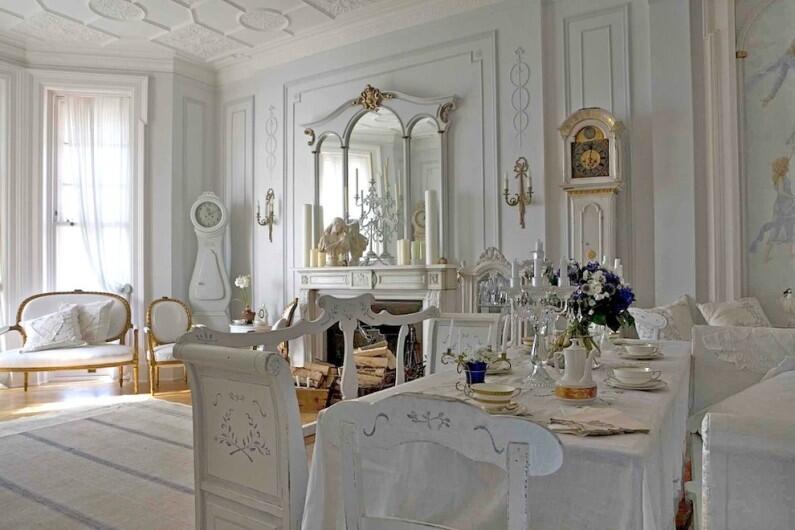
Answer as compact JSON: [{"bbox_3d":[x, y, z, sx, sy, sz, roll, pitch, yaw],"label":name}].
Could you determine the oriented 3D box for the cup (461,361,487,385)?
[{"bbox_3d":[0.431,0.580,3.254,0.130,0.101,0.118,-1,-5,0],"label":"cup"}]

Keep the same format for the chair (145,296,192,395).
[{"bbox_3d":[-2.755,0.936,7.190,0.659,1.112,0.658,-2,0,-21],"label":"chair"}]

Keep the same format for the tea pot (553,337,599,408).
[{"bbox_3d":[0.948,0.551,3.066,0.222,0.323,0.308,-1,-4,-16],"label":"tea pot"}]

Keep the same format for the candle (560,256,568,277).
[{"bbox_3d":[0.904,0.006,3.179,0.033,0.100,0.105,1,6,15],"label":"candle"}]

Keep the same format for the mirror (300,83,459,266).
[{"bbox_3d":[-0.248,-1.066,7.120,2.177,2.265,0.101,-2,3,28],"label":"mirror"}]

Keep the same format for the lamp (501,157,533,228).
[{"bbox_3d":[1.284,-0.776,6.261,0.323,0.754,0.132,1,6,14],"label":"lamp"}]

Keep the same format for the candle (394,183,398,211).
[{"bbox_3d":[-0.002,-0.809,6.963,0.027,0.293,0.083,-7,8,-44],"label":"candle"}]

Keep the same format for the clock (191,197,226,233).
[{"bbox_3d":[-2.516,-0.679,7.639,0.393,0.520,0.145,3,3,-2],"label":"clock"}]

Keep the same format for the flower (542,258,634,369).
[{"bbox_3d":[1.116,0.207,3.506,0.426,0.545,0.488,28,-11,-31],"label":"flower"}]

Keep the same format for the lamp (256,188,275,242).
[{"bbox_3d":[-1.780,-0.672,7.886,0.288,0.760,0.272,-2,-1,-28],"label":"lamp"}]

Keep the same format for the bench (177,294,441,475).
[{"bbox_3d":[-0.479,0.631,3.968,2.017,0.866,0.497,-2,-2,-41],"label":"bench"}]
